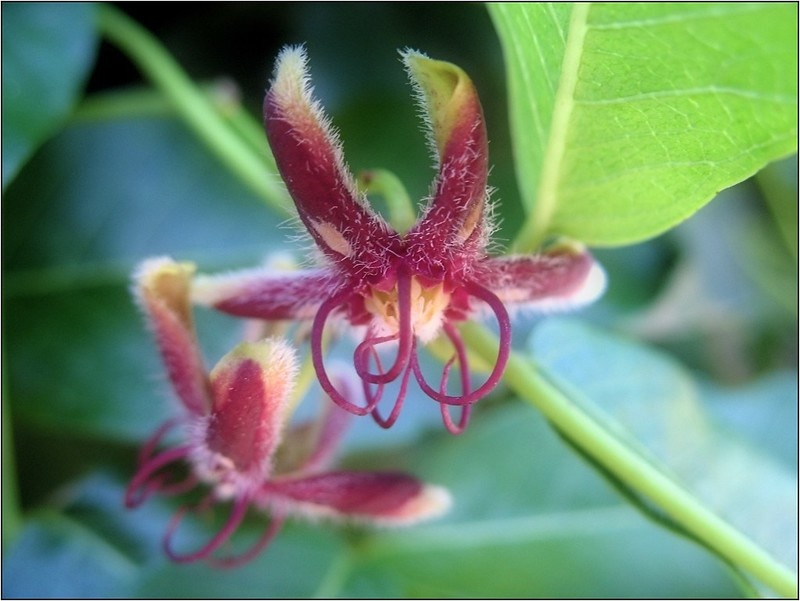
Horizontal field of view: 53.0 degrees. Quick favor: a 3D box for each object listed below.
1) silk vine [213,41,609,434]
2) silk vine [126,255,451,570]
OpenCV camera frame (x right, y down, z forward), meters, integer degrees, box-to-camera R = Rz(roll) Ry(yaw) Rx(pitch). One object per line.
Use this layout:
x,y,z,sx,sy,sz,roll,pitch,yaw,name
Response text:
-0.019,-0.038,0.923,0.431,0.378,0.344,-15,71,11,silk vine
-0.137,0.127,0.922,0.355,0.294,0.289,-7,68,-1,silk vine
